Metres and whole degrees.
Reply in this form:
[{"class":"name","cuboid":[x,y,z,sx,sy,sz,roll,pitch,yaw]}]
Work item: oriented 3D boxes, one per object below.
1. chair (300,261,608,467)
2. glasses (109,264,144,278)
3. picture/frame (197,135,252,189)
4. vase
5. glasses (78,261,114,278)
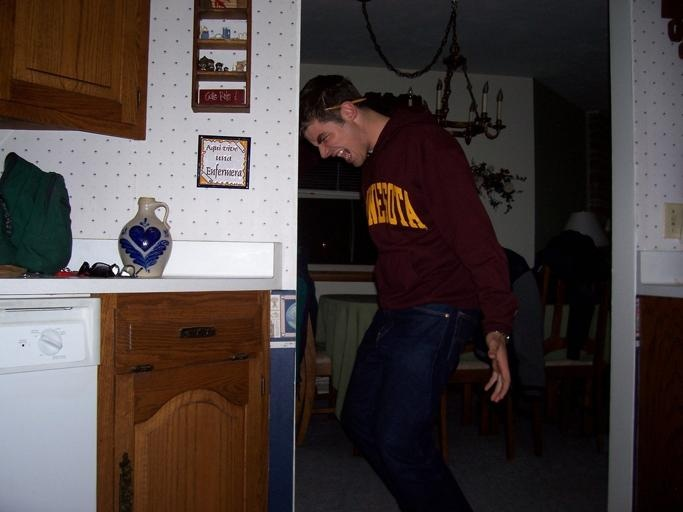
[{"class":"chair","cuboid":[0.702,0.483,3.773,1.619,1.948,1.089,1,2,-4]},{"class":"glasses","cuboid":[-0.770,0.061,1.954,0.056,0.022,0.066,3,-43,-6]},{"class":"picture/frame","cuboid":[-0.480,-0.375,2.189,0.175,0.209,0.025,2,-1,-2]},{"class":"vase","cuboid":[-0.722,-0.067,2.025,0.162,0.290,0.170,1,2,4]},{"class":"glasses","cuboid":[-0.835,0.052,1.872,0.126,0.045,0.229,-2,4,-25]}]
